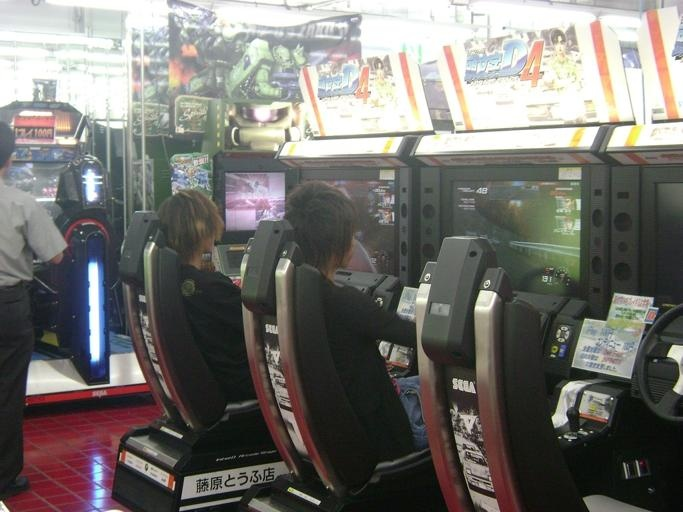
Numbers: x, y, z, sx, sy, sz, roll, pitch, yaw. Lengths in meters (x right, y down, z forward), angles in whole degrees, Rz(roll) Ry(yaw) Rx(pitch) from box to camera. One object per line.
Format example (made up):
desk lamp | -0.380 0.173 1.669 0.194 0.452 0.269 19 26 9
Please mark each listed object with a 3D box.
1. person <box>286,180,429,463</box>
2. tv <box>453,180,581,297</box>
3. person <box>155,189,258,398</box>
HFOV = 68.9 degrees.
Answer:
person | 0.069 0.249 1.869 0.515 1.055 0.397 -3 10 -3
tv | 0.905 -0.131 2.558 0.045 0.581 0.770 -13 15 -36
person | -0.684 0.200 2.502 0.356 1.053 0.384 -7 11 -22
